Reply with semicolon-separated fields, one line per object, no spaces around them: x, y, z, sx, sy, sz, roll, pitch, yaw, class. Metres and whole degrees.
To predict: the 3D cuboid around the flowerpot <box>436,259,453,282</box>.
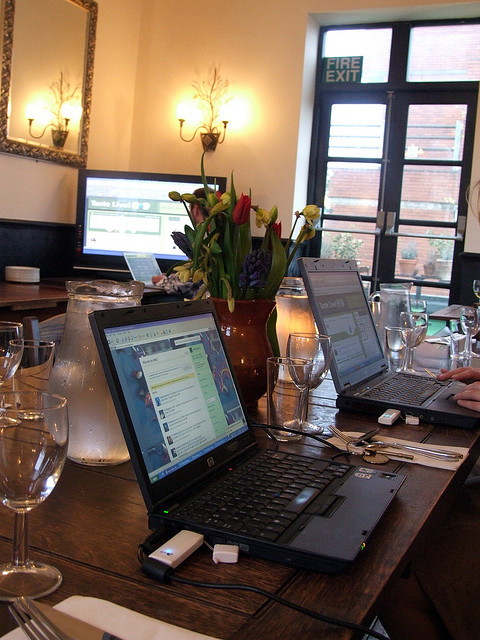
1.850;-0.457;4.424;0.178;0.182;0.186;0;2;28;flowerpot

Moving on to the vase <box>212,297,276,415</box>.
0.008;0.070;1.062;0.164;0.236;0.175;4;6;40;vase

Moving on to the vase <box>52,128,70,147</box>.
-1.407;-1.427;3.758;0.120;0.116;0.115;-1;9;-24;vase

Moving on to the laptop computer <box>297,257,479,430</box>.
0.340;0.066;1.169;0.414;0.302;0.457;1;3;28;laptop computer

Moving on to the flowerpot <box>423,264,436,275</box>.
1.724;-0.466;4.372;0.104;0.073;0.100;0;2;-28;flowerpot

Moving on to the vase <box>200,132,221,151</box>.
-0.287;-1.675;4.478;0.190;0.176;0.098;2;2;-1;vase

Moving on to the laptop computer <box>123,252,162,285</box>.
-0.742;-0.399;3.650;0.292;0.259;0.357;1;2;-28;laptop computer

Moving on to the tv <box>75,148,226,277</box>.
-0.655;-0.820;4.107;1.426;0.867;0.763;-9;24;-43;tv

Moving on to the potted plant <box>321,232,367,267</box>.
0.970;-0.726;4.706;0.435;0.399;0.384;8;29;6;potted plant

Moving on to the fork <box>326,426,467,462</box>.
0.256;0.208;0.803;0.212;0.039;0.034;0;8;19;fork

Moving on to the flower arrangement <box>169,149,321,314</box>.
-0.070;-0.147;1.060;0.280;0.271;0.219;-7;-1;-42;flower arrangement

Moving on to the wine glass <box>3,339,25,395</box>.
-0.389;0.075;0.825;0.031;0.077;0.126;1;2;-25;wine glass

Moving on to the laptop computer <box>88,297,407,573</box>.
0.024;0.096;0.571;0.301;0.237;0.288;3;2;25;laptop computer
